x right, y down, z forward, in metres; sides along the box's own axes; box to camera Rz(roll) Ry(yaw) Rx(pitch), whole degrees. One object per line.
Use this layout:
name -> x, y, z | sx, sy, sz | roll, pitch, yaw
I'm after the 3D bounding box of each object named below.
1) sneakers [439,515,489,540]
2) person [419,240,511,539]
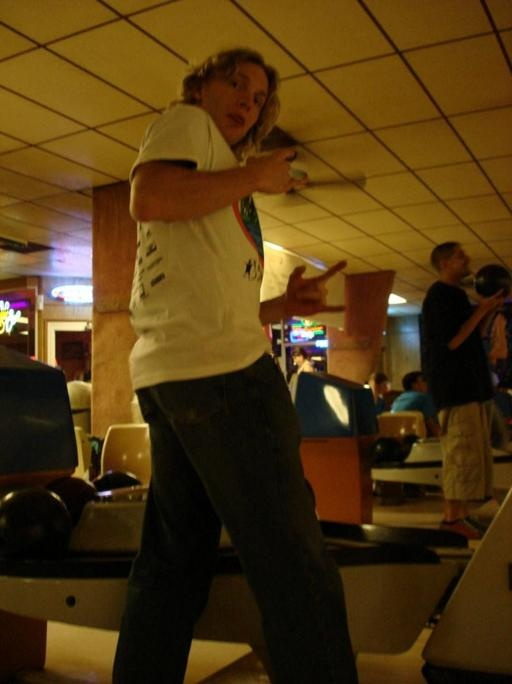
sneakers -> 0.987, 0.898, 2.697 | 0.209, 0.085, 0.272 | 1, -2, 24
person -> 1.028, 0.186, 2.884 | 0.374, 1.470, 0.421 | 0, -2, 33
